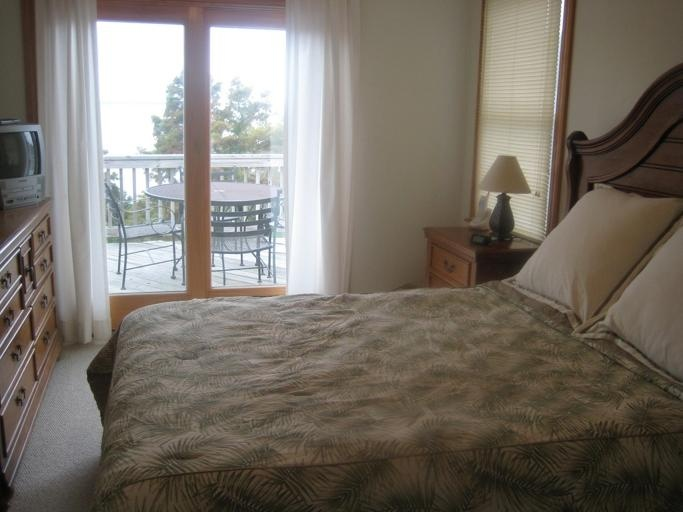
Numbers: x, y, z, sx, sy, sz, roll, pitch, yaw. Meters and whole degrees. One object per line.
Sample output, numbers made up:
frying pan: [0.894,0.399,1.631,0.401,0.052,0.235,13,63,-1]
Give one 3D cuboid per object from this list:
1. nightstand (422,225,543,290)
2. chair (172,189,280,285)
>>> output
nightstand: [0.925,-0.153,3.546,0.404,0.619,0.609,-6,19,-16]
chair: [-0.914,-0.246,4.350,0.735,0.764,0.748,0,13,-8]
